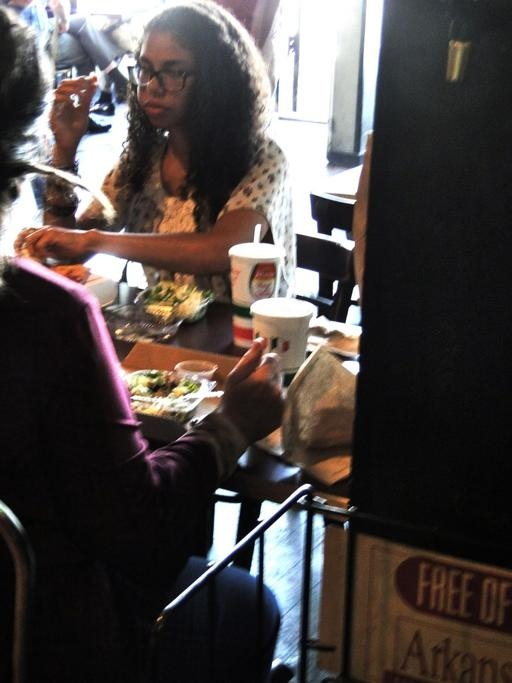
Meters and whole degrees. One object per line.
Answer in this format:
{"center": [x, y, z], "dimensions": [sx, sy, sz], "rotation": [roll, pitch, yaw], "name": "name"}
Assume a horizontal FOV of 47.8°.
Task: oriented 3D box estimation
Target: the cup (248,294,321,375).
{"center": [0.055, -0.021, 1.095], "dimensions": [0.114, 0.138, 0.125], "rotation": [0, 20, 0], "name": "cup"}
